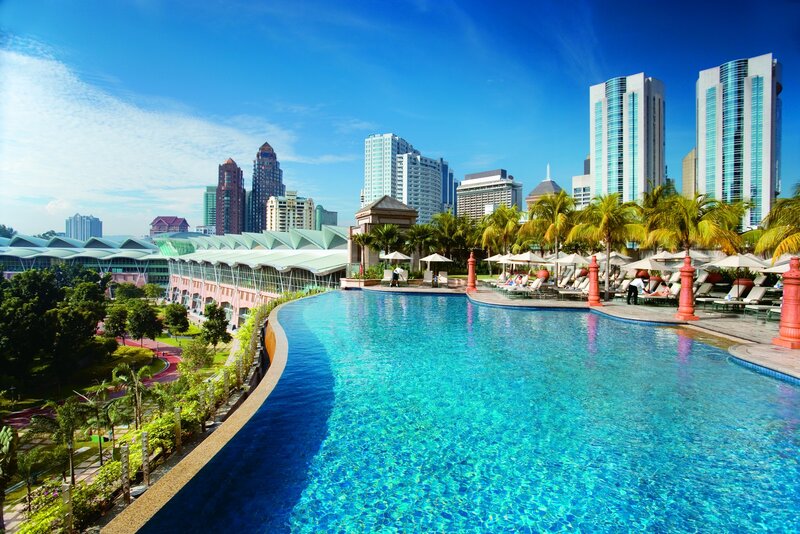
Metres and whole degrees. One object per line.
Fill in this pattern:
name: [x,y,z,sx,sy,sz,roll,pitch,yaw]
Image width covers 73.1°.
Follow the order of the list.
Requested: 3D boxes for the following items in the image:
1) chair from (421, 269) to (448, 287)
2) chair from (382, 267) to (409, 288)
chair: [2.642,0.881,39.726,1.045,0.921,1.845,4,5,13]
chair: [-0.435,0.767,39.692,1.439,1.116,1.428,1,-1,-11]
